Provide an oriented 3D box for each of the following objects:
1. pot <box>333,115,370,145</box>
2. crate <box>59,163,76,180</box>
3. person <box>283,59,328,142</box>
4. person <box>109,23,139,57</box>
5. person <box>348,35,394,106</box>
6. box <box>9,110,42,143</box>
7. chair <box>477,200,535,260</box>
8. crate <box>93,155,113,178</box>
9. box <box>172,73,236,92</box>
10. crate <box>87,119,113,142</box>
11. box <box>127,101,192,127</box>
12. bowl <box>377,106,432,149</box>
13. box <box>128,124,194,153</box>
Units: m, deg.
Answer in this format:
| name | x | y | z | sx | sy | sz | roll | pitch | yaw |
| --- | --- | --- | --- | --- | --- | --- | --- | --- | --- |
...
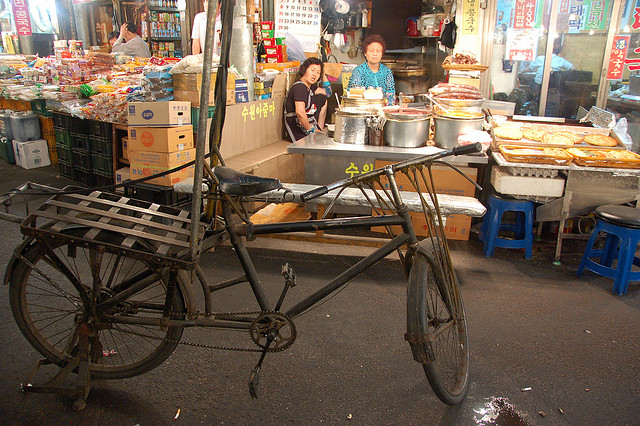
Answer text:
| name | x | y | z | sx | sy | sz | roll | pitch | yaw |
| --- | --- | --- | --- | --- | --- | --- | --- | --- | --- |
| pot | 0.394 | -1.032 | 5.043 | 0.497 | 0.358 | 0.488 | 1 | 26 | 0 |
| crate | -3.774 | -0.621 | 6.511 | 0.227 | 0.154 | 0.138 | 18 | 19 | 25 |
| person | -0.184 | -1.645 | 6.427 | 0.670 | 1.165 | 0.712 | -4 | 18 | -11 |
| person | -4.007 | -3.549 | 8.904 | 0.457 | 0.619 | 0.931 | -11 | 21 | -32 |
| person | 0.782 | -2.126 | 6.439 | 0.667 | 0.957 | 0.840 | 3 | 18 | 8 |
| box | -4.825 | -1.447 | 7.106 | 0.336 | 0.530 | 0.353 | 25 | 35 | 14 |
| chair | 2.094 | 0.116 | 4.838 | 0.590 | 0.578 | 0.590 | 10 | 18 | 32 |
| crate | -2.960 | -0.649 | 5.946 | 0.273 | 0.256 | 0.174 | 13 | 16 | 18 |
| box | -1.368 | -1.543 | 5.153 | 0.722 | 0.216 | 0.394 | -5 | 18 | -17 |
| crate | -2.967 | -1.116 | 5.882 | 0.409 | 0.268 | 0.101 | 11 | 21 | 29 |
| box | -1.911 | -1.164 | 5.148 | 0.674 | 0.284 | 0.396 | 6 | 13 | 31 |
| bowl | 0.978 | -0.940 | 4.901 | 0.552 | 0.337 | 0.562 | 1 | 15 | 0 |
| box | -1.912 | -0.900 | 5.225 | 0.679 | 0.293 | 0.373 | 7 | 18 | 29 |
